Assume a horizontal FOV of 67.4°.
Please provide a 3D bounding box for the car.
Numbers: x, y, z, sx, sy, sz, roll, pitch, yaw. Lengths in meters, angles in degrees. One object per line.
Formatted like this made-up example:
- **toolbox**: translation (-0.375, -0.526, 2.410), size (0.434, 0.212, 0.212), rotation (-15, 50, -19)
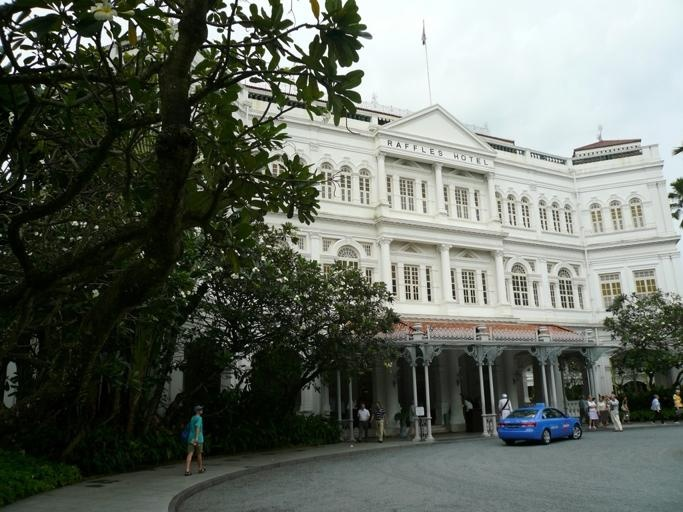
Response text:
- **car**: translation (8.075, 6.866, 20.926), size (3.783, 1.462, 1.486), rotation (12, -21, -37)
